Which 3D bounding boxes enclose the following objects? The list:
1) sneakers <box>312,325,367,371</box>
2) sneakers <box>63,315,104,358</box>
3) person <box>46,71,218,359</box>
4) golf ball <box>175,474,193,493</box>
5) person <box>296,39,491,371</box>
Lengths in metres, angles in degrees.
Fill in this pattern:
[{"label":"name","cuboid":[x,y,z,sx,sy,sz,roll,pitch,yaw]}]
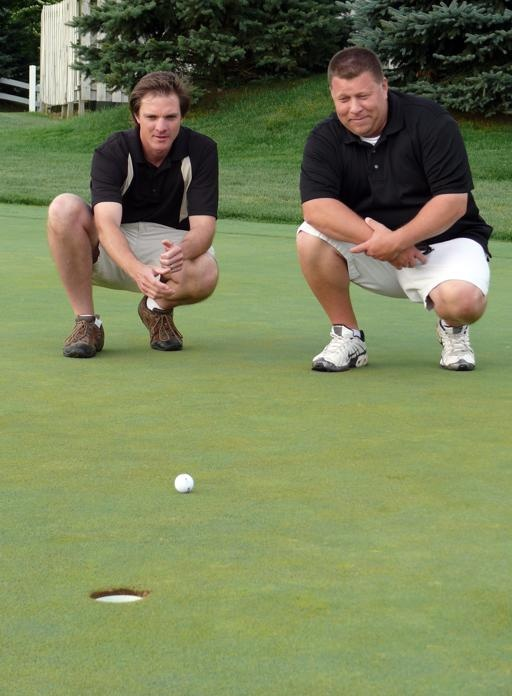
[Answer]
[{"label":"sneakers","cuboid":[0.352,0.003,3.134,0.163,0.177,0.414,8,12,28]},{"label":"sneakers","cuboid":[-0.757,-0.051,3.216,0.160,0.162,0.303,0,8,-9]},{"label":"person","cuboid":[-0.584,-0.615,3.324,0.784,1.259,0.697,2,9,2]},{"label":"golf ball","cuboid":[-0.145,0.290,1.558,0.043,0.034,0.036,-16,-31,6]},{"label":"person","cuboid":[0.605,-0.576,3.103,0.855,1.324,0.495,2,9,2]}]
